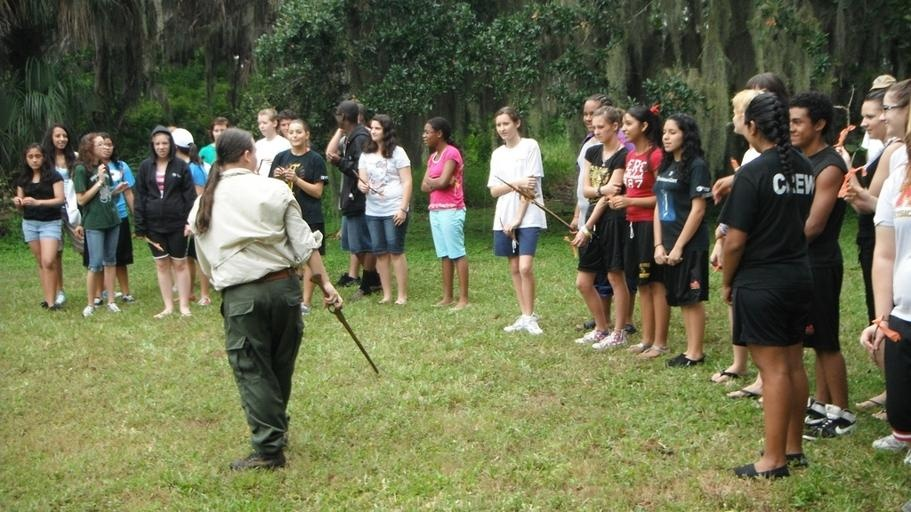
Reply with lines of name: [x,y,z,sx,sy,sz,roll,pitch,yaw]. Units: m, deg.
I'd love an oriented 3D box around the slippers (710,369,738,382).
slippers: [3.470,1.550,11.315,0.290,0.100,0.159,-1,5,5]

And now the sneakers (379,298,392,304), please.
sneakers: [-1.143,0.739,14.281,0.206,0.081,0.172,2,11,24]

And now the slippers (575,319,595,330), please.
slippers: [1.906,1.040,13.059,0.312,0.117,0.112,-3,-1,-20]

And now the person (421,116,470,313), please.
person: [-0.176,-0.677,13.975,0.675,2.975,0.923,-3,10,-1]

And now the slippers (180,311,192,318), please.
slippers: [-4.195,0.929,13.718,0.081,0.028,0.198,-3,15,-28]

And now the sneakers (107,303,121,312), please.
sneakers: [-5.477,0.824,14.141,0.120,0.099,0.294,-9,15,-39]

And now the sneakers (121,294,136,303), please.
sneakers: [-5.427,0.724,14.620,0.228,0.096,0.120,0,13,41]

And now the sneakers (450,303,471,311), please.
sneakers: [0.080,0.821,13.955,0.115,0.139,0.346,-3,-4,42]

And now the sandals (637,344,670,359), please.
sandals: [2.689,1.314,12.004,0.358,0.137,0.192,1,-1,-9]

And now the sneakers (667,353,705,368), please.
sneakers: [3.056,1.403,11.688,0.484,0.128,0.189,0,3,0]

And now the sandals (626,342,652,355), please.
sandals: [2.547,1.296,12.104,0.281,0.099,0.150,0,-1,-27]

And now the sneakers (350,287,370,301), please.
sneakers: [-1.592,0.669,14.776,0.132,0.155,0.363,-5,-2,36]

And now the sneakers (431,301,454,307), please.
sneakers: [-0.204,0.780,14.183,0.390,0.166,0.117,4,-2,-6]

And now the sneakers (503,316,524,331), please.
sneakers: [0.811,1.028,12.987,0.405,0.168,0.145,-2,1,-15]

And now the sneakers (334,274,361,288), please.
sneakers: [-1.923,0.451,15.440,0.371,0.156,0.197,3,3,44]

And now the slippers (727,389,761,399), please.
slippers: [3.622,1.742,11.021,0.374,0.089,0.145,2,5,6]

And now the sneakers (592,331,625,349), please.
sneakers: [2.177,1.177,12.360,0.556,0.213,0.193,-12,11,-9]

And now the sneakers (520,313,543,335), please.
sneakers: [1.145,1.031,12.907,0.159,0.197,0.461,-2,6,-23]

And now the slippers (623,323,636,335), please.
slippers: [2.516,1.070,12.728,0.098,0.115,0.274,-4,-14,20]

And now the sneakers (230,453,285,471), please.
sneakers: [-2.298,2.445,10.361,0.647,0.266,0.230,4,-2,-9]

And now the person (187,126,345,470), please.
person: [-2.298,0.480,10.539,1.274,3.959,0.988,-9,12,-31]

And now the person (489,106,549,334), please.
person: [0.931,-0.548,13.056,0.781,3.258,1.027,-3,10,1]

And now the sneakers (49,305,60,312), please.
sneakers: [-6.491,0.849,14.284,0.162,0.076,0.186,-8,12,-28]

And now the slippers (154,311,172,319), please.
slippers: [-4.564,0.932,13.771,0.271,0.063,0.270,-4,10,-10]

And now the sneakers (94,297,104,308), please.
sneakers: [-5.861,0.769,14.473,0.086,0.097,0.231,-1,-7,-11]

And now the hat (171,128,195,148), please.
hat: [-4.530,-1.957,14.431,0.376,0.214,0.284,30,15,12]

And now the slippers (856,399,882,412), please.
slippers: [5.103,1.858,10.829,0.328,0.076,0.127,-4,46,13]

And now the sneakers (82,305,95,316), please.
sneakers: [-5.831,0.879,14.011,0.191,0.144,0.327,-7,11,-22]
